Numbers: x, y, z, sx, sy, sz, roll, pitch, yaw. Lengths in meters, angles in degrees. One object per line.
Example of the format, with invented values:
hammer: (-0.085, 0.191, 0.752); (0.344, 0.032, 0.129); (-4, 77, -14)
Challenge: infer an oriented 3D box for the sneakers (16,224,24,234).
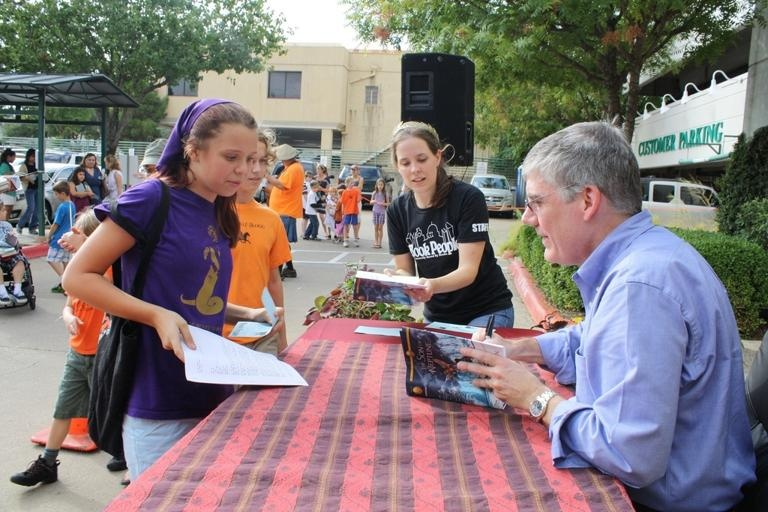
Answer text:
sneakers: (-8.570, -0.644, 13.717); (0.098, 0.242, 0.088); (-14, -25, -5)

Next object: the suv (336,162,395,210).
suv: (-0.723, -3.234, 26.109); (2.089, 1.522, 3.808); (0, 10, 9)

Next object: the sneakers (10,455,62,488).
sneakers: (-2.439, 1.540, 4.181); (0.365, 0.196, 0.134); (15, -2, -45)

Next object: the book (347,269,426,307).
book: (0.019, 0.203, 3.453); (0.426, 0.227, 0.254); (1, 11, -15)

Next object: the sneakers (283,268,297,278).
sneakers: (-1.724, 0.319, 10.587); (0.262, 0.111, 0.096); (3, 3, 2)

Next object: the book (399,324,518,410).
book: (0.348, 0.548, 2.773); (0.371, 0.283, 0.069); (8, 32, 25)
